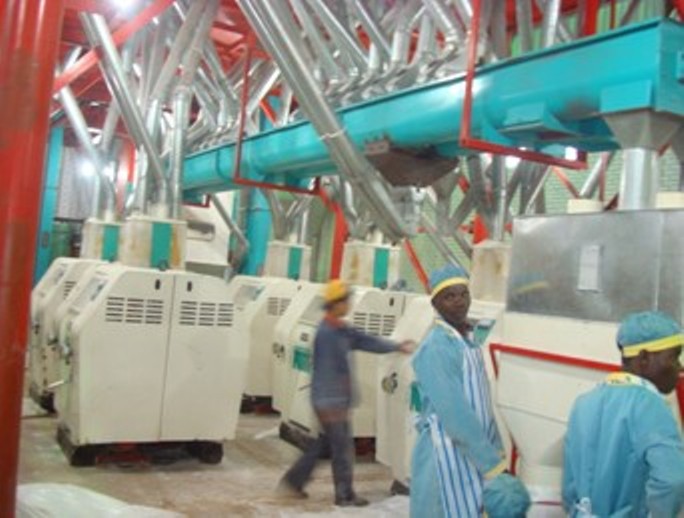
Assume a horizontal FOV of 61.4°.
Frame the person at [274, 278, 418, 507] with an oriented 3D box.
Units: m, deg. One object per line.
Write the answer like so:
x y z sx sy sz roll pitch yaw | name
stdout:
-0.017 1.169 5.111 1.008 1.954 0.539 2 -2 6 | person

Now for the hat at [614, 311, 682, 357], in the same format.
1.439 0.348 2.742 0.277 0.182 0.185 -4 0 2 | hat

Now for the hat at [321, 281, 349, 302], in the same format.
-0.065 0.282 5.025 0.214 0.189 0.342 3 -2 -19 | hat

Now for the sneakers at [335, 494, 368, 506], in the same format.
0.077 2.111 4.974 0.280 0.118 0.106 0 -9 -5 | sneakers

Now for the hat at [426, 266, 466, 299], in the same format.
0.604 0.130 3.364 0.153 0.178 0.211 0 6 -9 | hat
